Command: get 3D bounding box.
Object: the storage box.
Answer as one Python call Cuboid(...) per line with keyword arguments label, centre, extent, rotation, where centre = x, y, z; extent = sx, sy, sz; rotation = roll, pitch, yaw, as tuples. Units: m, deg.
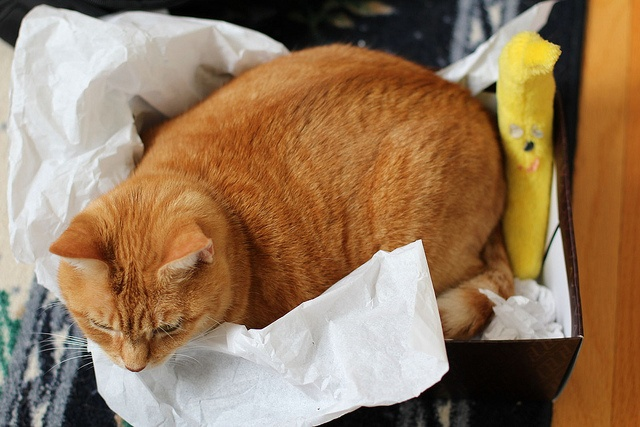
Cuboid(label="storage box", centre=(0.525, 0.127, 2.040), extent=(0.472, 0.228, 0.721), rotation=(-4, 74, 18))
